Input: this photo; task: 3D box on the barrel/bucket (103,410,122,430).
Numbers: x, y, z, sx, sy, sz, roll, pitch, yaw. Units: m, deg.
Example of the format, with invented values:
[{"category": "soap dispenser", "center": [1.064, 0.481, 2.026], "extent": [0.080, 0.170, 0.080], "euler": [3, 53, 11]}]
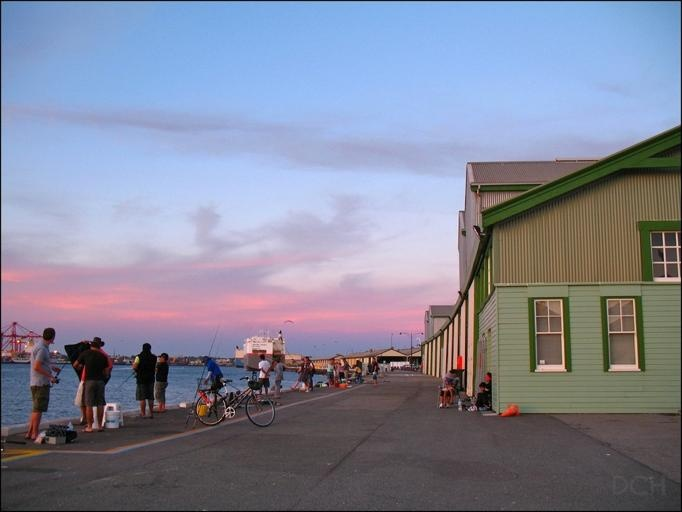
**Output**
[{"category": "barrel/bucket", "center": [-5.984, 4.351, 18.545], "extent": [0.430, 0.414, 0.424], "euler": [0, -9, 0]}]

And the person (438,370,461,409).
[{"category": "person", "center": [4.039, 4.900, 26.104], "extent": [0.755, 1.294, 1.754], "euler": [-1, -7, 8]}]

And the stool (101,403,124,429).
[{"category": "stool", "center": [-6.027, 4.233, 18.606], "extent": [0.570, 0.603, 0.573], "euler": [1, -8, -9]}]

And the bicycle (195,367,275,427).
[{"category": "bicycle", "center": [-3.111, 4.087, 20.017], "extent": [2.575, 1.579, 1.293], "euler": [0, -6, -4]}]

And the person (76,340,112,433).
[{"category": "person", "center": [-6.221, 3.232, 17.704], "extent": [0.799, 2.326, 1.160], "euler": [2, -7, -20]}]

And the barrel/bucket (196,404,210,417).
[{"category": "barrel/bucket", "center": [-3.800, 4.243, 19.304], "extent": [0.291, 0.283, 0.295], "euler": [-1, -13, 0]}]

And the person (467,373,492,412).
[{"category": "person", "center": [4.914, 4.700, 24.566], "extent": [0.703, 1.277, 1.207], "euler": [-1, -7, 10]}]
